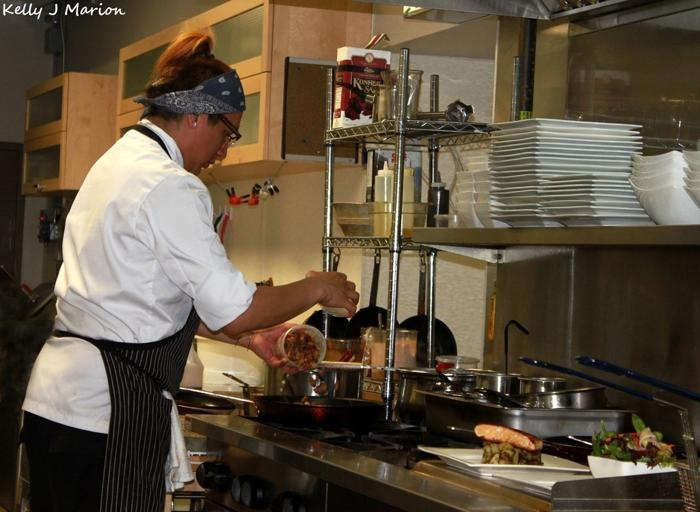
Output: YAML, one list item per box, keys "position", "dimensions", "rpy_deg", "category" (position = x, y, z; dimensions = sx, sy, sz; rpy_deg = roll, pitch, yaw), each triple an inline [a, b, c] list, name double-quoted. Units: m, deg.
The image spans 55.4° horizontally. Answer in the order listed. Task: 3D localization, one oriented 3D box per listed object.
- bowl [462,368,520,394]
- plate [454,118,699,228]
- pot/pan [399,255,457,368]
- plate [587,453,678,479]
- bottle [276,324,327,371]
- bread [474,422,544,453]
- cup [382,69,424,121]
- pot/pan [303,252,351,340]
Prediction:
- position: [0.359, 0.313, 1.668]
  dimensions: [0.067, 0.032, 0.090]
  rpy_deg: [1, 0, -14]
  category: "bowl"
- position: [0.517, -0.178, 1.577]
  dimensions: [0.342, 0.151, 0.347]
  rpy_deg: [-2, 4, -26]
  category: "plate"
- position: [0.265, 0.186, 2.250]
  dimensions: [0.050, 0.387, 0.171]
  rpy_deg: [3, -11, -33]
  category: "pot/pan"
- position: [0.463, 0.360, 1.096]
  dimensions: [0.135, 0.038, 0.075]
  rpy_deg: [0, 0, 22]
  category: "plate"
- position: [-0.138, 0.275, 2.031]
  dimensions: [0.127, 0.131, 0.102]
  rpy_deg: [-1, 9, -16]
  category: "bottle"
- position: [0.298, 0.338, 1.242]
  dimensions: [0.091, 0.022, 0.057]
  rpy_deg: [5, 1, 14]
  category: "bread"
- position: [0.143, -0.478, 2.038]
  dimensions: [0.142, 0.146, 0.153]
  rpy_deg: [0, -3, 0]
  category: "cup"
- position: [-0.082, 0.155, 2.556]
  dimensions: [0.188, 0.321, 0.052]
  rpy_deg: [-2, -9, 41]
  category: "pot/pan"
